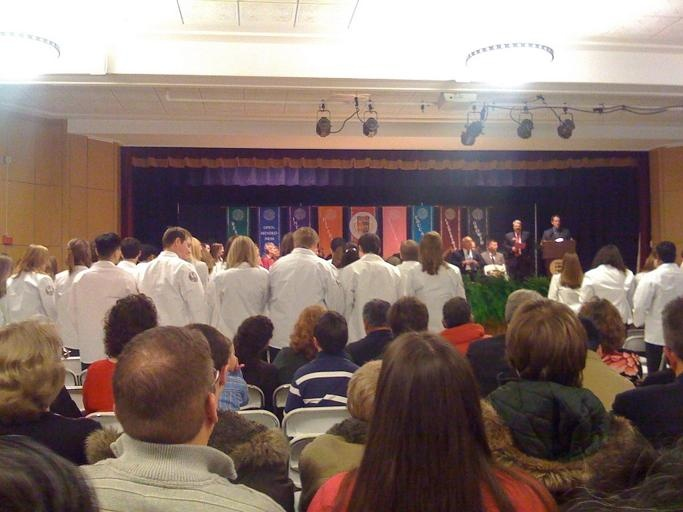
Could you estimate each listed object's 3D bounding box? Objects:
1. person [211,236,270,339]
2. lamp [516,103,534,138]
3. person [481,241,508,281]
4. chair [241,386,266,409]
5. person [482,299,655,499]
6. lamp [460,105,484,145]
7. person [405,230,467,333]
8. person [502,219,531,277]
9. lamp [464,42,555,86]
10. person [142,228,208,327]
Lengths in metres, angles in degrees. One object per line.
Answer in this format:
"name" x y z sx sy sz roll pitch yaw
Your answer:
"person" -0.847 0.438 5.954 0.466 1.390 0.412 -3 24 -5
"lamp" 2.395 -1.684 8.574 0.196 0.510 1.261 -1 -2 16
"person" 2.487 0.158 10.862 0.364 0.841 0.439 -6 -14 23
"chair" -0.549 0.891 4.128 0.138 0.145 0.135 3 5 -22
"person" 1.063 0.678 3.104 0.515 0.798 0.401 -14 6 13
"lamp" 1.686 -1.711 8.545 0.264 0.425 0.146 -24 50 -39
"person" 0.917 0.486 6.358 0.591 1.427 0.365 -3 15 13
"person" 3.108 -0.013 11.518 0.353 1.184 0.367 -6 17 -4
"lamp" 1.614 -1.861 6.414 0.802 0.337 0.868 -1 -2 10
"person" -1.407 0.155 5.566 0.558 0.820 0.336 0 -1 -19
